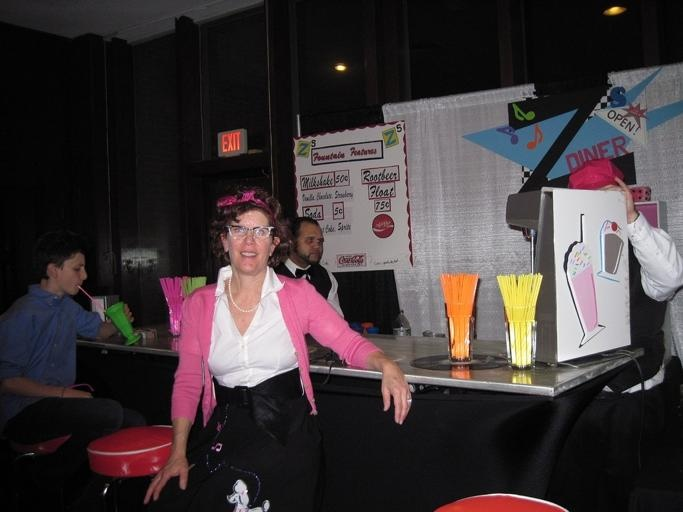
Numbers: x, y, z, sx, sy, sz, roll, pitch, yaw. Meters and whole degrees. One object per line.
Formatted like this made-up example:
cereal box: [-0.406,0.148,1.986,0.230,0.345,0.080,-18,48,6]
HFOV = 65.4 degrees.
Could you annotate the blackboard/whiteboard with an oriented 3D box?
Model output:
blackboard/whiteboard: [0.136,-0.475,4.389,1.223,1.535,0.069,-2,3,28]

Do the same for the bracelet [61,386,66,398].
bracelet: [-1.450,0.714,2.784,0.021,0.049,0.012,-6,3,-21]

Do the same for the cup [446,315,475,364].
cup: [0.517,0.354,2.300,0.104,0.208,0.089,-5,3,-1]

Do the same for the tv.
tv: [0.226,0.345,4.150,0.492,0.552,0.055,-2,11,22]

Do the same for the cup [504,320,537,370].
cup: [0.693,0.363,2.137,0.161,0.214,0.166,0,-9,0]

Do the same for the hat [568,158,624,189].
hat: [1.164,-0.389,2.434,0.184,0.082,0.190,-11,22,36]

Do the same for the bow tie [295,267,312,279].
bow tie: [-0.281,0.117,3.857,0.083,0.075,0.019,1,-9,-36]
